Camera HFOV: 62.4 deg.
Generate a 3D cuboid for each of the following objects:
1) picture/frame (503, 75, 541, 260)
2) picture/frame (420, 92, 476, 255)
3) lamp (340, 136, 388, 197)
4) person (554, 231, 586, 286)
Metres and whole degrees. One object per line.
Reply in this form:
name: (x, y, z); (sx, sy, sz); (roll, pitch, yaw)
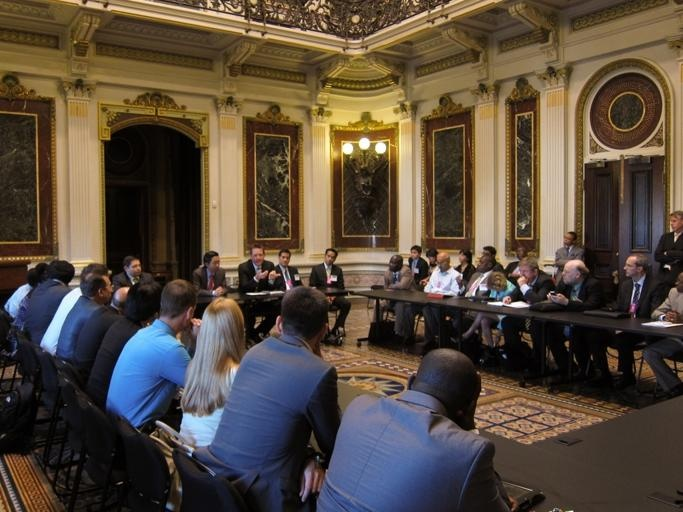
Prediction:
picture/frame: (3.043, -1.508, 9.463); (0.125, 2.920, 0.689); (-2, 3, -40)
picture/frame: (1.997, -1.555, 10.669); (0.247, 2.895, 1.309); (-1, 2, -30)
lamp: (0.474, -1.857, 11.777); (0.959, 1.258, 0.351); (0, 2, 4)
person: (3.501, 0.220, 8.785); (0.373, 1.170, 0.326); (8, 22, 28)
